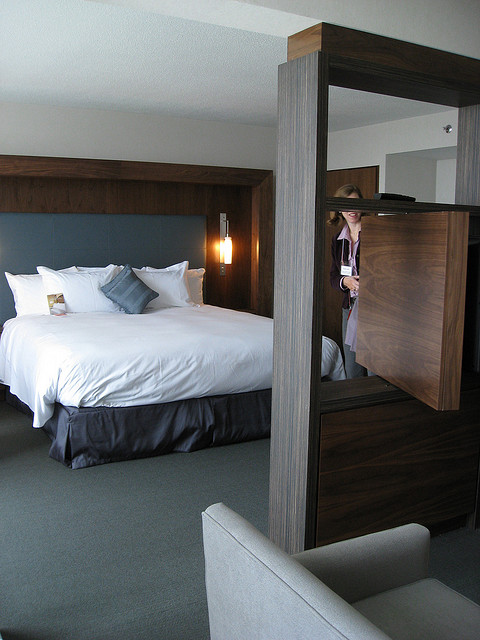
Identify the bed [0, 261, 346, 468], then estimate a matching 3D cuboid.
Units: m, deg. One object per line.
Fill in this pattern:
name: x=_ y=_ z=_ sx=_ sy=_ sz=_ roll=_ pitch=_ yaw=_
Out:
bed: x=-0.826 y=0.132 z=4.162 sx=2.238 sy=1.346 sz=2.303 roll=-1 pitch=4 yaw=-25
